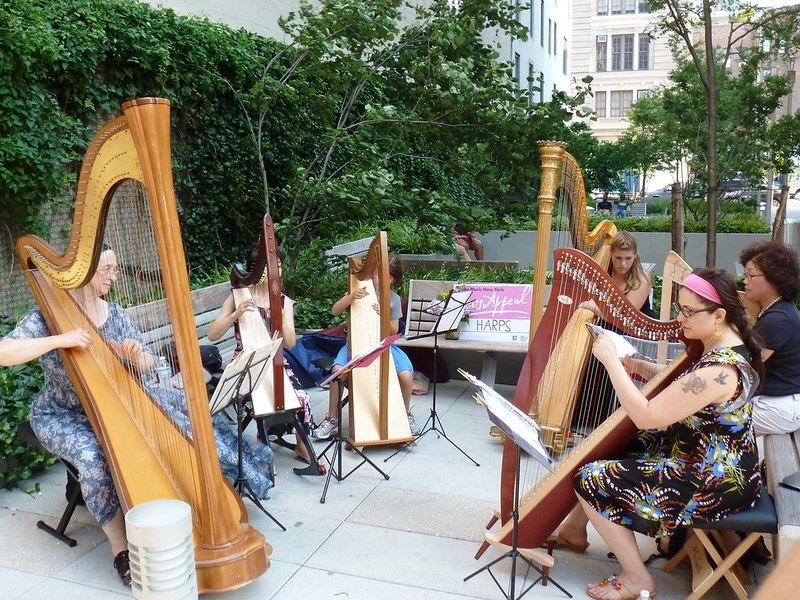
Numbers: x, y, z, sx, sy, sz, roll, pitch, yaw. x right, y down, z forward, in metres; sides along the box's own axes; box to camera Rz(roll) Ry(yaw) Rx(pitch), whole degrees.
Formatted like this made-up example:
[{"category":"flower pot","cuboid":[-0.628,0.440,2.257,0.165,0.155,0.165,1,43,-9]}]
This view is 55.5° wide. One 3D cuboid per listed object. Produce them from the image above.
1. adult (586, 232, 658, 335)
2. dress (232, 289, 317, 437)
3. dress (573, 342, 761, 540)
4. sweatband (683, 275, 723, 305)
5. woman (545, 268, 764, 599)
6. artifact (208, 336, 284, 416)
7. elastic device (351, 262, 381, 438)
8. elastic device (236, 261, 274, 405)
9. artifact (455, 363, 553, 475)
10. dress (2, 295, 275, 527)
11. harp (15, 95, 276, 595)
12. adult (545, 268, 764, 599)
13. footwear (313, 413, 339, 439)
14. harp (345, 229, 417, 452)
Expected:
[{"category":"adult","cuboid":[1.802,-0.031,6.261,0.471,1.085,0.634,14,35,38]},{"category":"dress","cuboid":[-0.945,0.687,5.877,0.383,1.620,0.417,-10,17,2]},{"category":"dress","cuboid":[1.710,0.663,4.773,0.940,1.294,1.237,-1,-3,28]},{"category":"sweatband","cuboid":[1.670,-0.069,4.213,0.173,0.073,0.144,36,9,-7]},{"category":"woman","cuboid":[1.546,0.779,4.401,1.025,1.917,0.604,3,13,25]},{"category":"artifact","cuboid":[-1.052,0.531,5.274,0.156,0.653,0.576,39,23,8]},{"category":"elastic device","cuboid":[-0.270,0.395,6.109,0.323,1.462,0.198,-5,-20,13]},{"category":"elastic device","cuboid":[-1.018,0.244,5.361,0.169,0.274,1.048,0,31,-13]},{"category":"artifact","cuboid":[0.508,0.737,4.189,0.551,0.203,0.465,46,29,5]},{"category":"dress","cuboid":[-1.695,0.736,4.837,1.643,1.148,0.497,36,24,20]},{"category":"harp","cuboid":[-1.514,0.277,4.480,0.642,2.786,1.619,-13,16,-40]},{"category":"adult","cuboid":[1.541,0.778,4.405,1.033,1.917,0.621,3,13,26]},{"category":"footwear","cuboid":[-0.602,1.047,6.259,0.093,0.119,0.246,2,7,24]},{"category":"harp","cuboid":[-0.226,0.435,6.191,0.516,1.502,0.513,-6,-10,-11]}]
